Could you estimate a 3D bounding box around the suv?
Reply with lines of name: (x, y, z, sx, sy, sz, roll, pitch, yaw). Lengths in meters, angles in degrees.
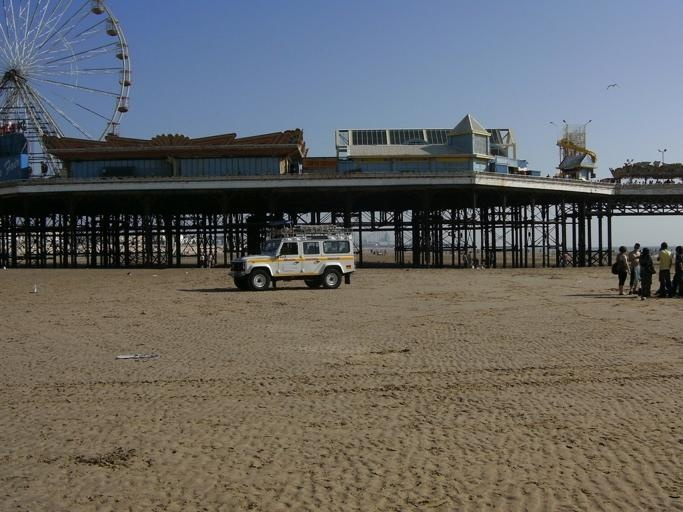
suv: (-1.794, 0.273, 29.047, 3.981, 1.636, 2.035, 2, -3, -21)

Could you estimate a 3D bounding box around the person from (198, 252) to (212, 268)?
person: (-9.883, 0.277, 57.563, 1.352, 1.183, 1.057, 2, 3, 35)
